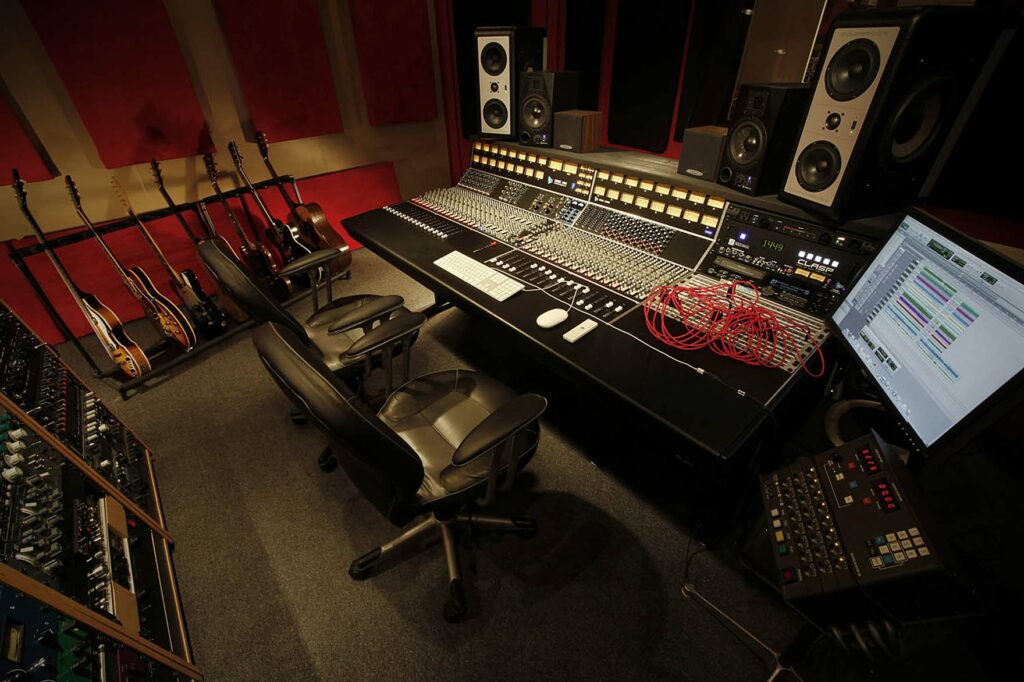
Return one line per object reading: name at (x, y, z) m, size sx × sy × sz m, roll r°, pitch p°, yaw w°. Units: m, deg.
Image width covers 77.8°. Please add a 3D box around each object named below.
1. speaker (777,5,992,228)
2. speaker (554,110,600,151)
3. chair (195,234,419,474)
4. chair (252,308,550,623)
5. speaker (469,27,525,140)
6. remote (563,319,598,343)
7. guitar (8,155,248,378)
speaker at (1.742, -1.057, 2.952) m, size 0.728 × 0.858 × 0.539 m, roll 10°, pitch 39°, yaw 13°
speaker at (0.392, -1.311, 3.963) m, size 0.282 × 0.239 × 0.256 m, roll 9°, pitch 39°, yaw 11°
chair at (-1.218, 0.103, 3.614) m, size 0.742 × 1.191 × 0.766 m, roll -34°, pitch 73°, yaw -19°
chair at (-0.427, 0.528, 3.229) m, size 1.210 × 1.600 × 1.233 m, roll 12°, pitch 39°, yaw 19°
speaker at (-0.115, -1.678, 4.139) m, size 0.353 × 0.639 × 0.239 m, roll 12°, pitch 40°, yaw 15°
remote at (0.325, -0.050, 3.096) m, size 0.182 × 0.024 × 0.080 m, roll -33°, pitch 54°, yaw -28°
guitar at (-2.640, -0.488, 4.279) m, size 0.694 × 1.196 × 0.913 m, roll -34°, pitch 63°, yaw -31°
